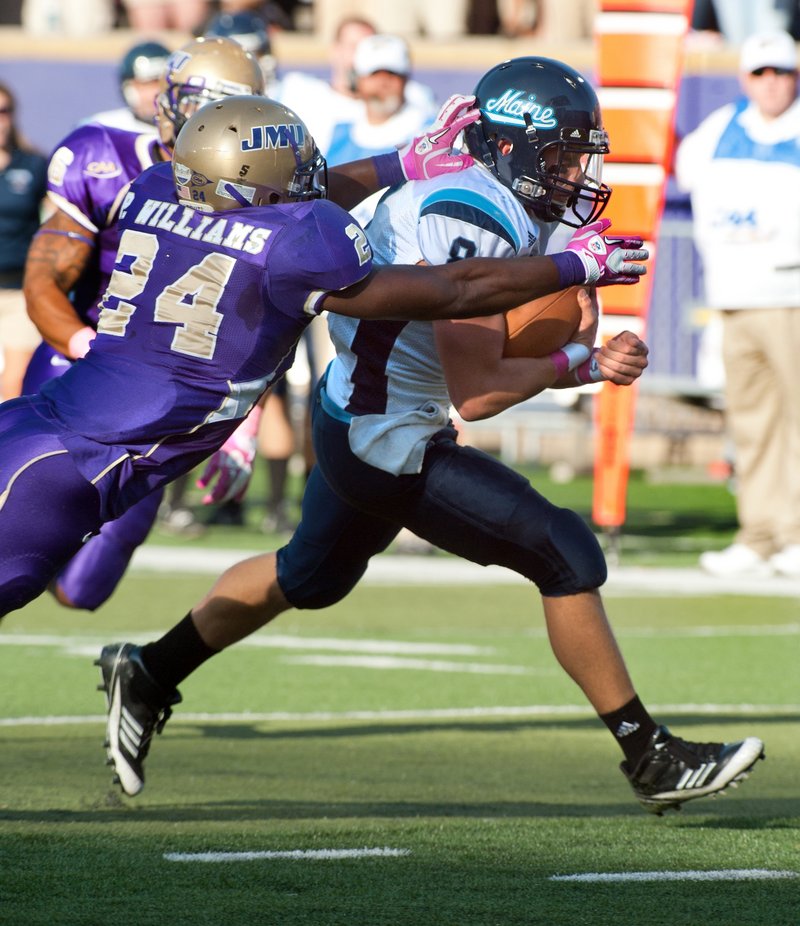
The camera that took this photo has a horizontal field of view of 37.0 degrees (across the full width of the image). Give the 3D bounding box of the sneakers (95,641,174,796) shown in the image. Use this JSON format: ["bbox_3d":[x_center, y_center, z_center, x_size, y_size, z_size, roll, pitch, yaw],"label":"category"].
[{"bbox_3d":[-0.605,0.559,2.635,0.215,0.304,0.116,-12,-21,8],"label":"sneakers"}]

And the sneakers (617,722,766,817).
[{"bbox_3d":[0.577,0.631,2.503,0.370,0.171,0.116,-21,18,33],"label":"sneakers"}]

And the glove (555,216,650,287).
[{"bbox_3d":[0.416,-0.419,2.472,0.180,0.147,0.393,6,17,10],"label":"glove"}]

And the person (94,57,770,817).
[{"bbox_3d":[-0.024,-0.089,2.567,1.236,1.542,1.119,-2,21,-13],"label":"person"}]
